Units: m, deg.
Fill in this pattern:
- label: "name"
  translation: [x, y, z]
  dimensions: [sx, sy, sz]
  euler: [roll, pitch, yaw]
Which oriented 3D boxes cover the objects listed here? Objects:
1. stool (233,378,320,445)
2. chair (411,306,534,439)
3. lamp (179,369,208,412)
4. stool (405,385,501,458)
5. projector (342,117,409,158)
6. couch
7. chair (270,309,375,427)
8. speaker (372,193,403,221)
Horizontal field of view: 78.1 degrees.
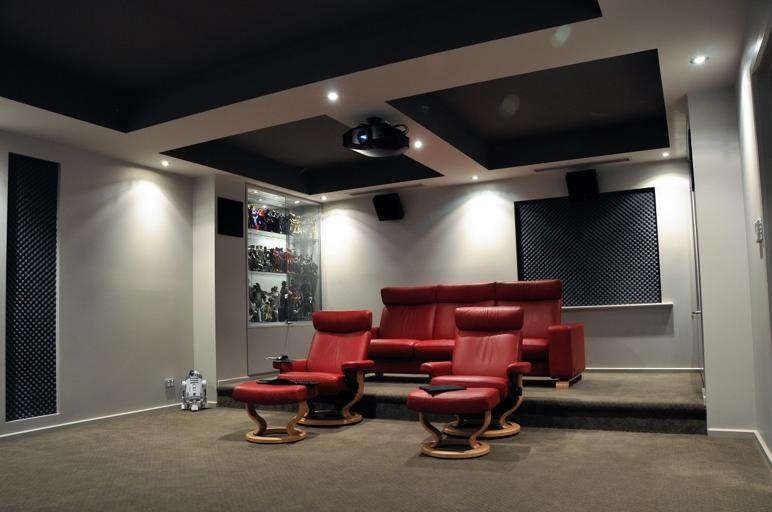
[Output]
- label: "stool"
  translation: [-1.262, 1.776, 5.505]
  dimensions: [1.020, 0.640, 0.739]
  euler: [-5, -13, 14]
- label: "chair"
  translation: [0.900, 1.250, 5.139]
  dimensions: [1.106, 1.291, 1.542]
  euler: [-5, -7, 32]
- label: "lamp"
  translation: [-2.829, 1.983, 7.018]
  dimensions: [0.364, 0.255, 0.705]
  euler: [3, 20, -23]
- label: "stool"
  translation: [0.727, 1.678, 4.876]
  dimensions: [1.068, 0.621, 1.019]
  euler: [2, -11, -13]
- label: "projector"
  translation: [-0.056, -1.469, 5.891]
  dimensions: [0.473, 0.294, 0.655]
  euler: [-4, -4, 33]
- label: "couch"
  translation: [1.061, 1.129, 7.081]
  dimensions: [3.355, 1.425, 1.171]
  euler: [-5, -8, 27]
- label: "chair"
  translation: [-0.703, 1.362, 5.943]
  dimensions: [1.155, 1.374, 1.189]
  euler: [-7, -10, 35]
- label: "speaker"
  translation: [0.057, -0.932, 8.949]
  dimensions: [0.478, 0.452, 0.172]
  euler: [-5, 14, 31]
